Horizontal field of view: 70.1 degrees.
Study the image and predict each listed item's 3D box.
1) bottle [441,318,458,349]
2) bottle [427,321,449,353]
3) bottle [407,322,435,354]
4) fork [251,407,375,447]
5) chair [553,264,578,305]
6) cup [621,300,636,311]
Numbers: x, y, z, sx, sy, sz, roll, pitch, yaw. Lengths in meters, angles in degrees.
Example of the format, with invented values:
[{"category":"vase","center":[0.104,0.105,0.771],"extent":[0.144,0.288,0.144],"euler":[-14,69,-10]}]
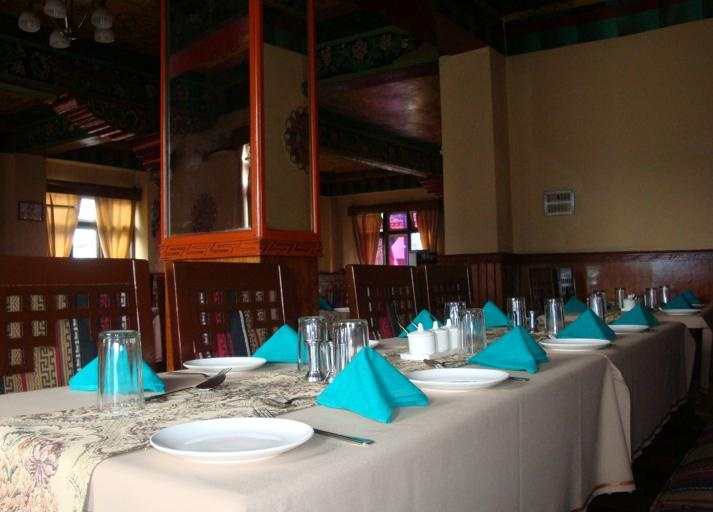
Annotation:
[{"category":"bottle","center":[0.312,0.259,1.711],"extent":[0.061,0.104,0.064],"euler":[-1,-7,0]},{"category":"bottle","center":[0.271,0.256,1.630],"extent":[0.077,0.090,0.079],"euler":[1,2,40]},{"category":"bottle","center":[0.200,0.265,1.617],"extent":[0.075,0.081,0.074],"euler":[1,-3,-42]},{"category":"fork","center":[-0.073,0.306,0.906],"extent":[0.219,0.020,0.024],"euler":[-3,8,37]},{"category":"chair","center":[1.568,0.207,3.811],"extent":[0.151,0.305,0.293],"euler":[-3,-4,30]},{"category":"cup","center":[1.625,0.293,3.033],"extent":[0.076,0.103,0.231],"euler":[-5,-6,32]}]
